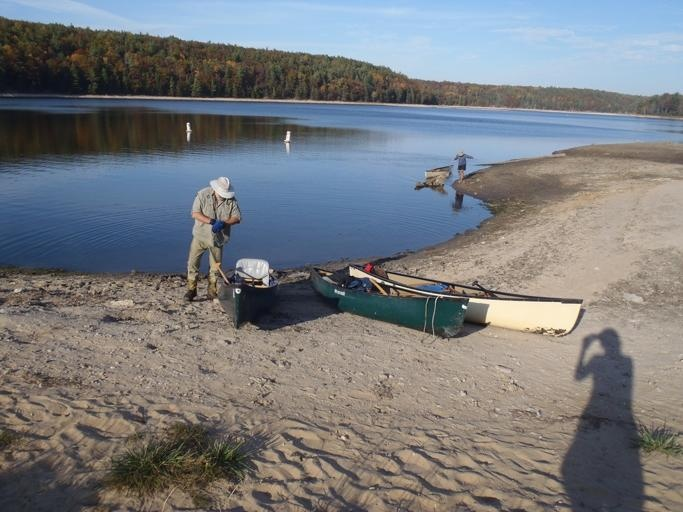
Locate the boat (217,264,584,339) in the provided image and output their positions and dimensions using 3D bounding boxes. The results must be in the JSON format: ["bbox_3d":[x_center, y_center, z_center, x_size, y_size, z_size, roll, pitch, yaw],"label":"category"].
[{"bbox_3d":[1.318,0.900,13.934,7.981,1.289,3.321,1,13,-5],"label":"boat"}]

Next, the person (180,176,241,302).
[{"bbox_3d":[-3.002,-0.344,13.081,1.150,3.039,1.302,-2,16,-19],"label":"person"}]

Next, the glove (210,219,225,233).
[{"bbox_3d":[-2.716,-0.667,12.503,0.292,0.317,0.270,0,15,-12],"label":"glove"}]

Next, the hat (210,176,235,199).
[{"bbox_3d":[-2.646,-1.538,12.594,0.469,0.468,0.375,0,15,-12],"label":"hat"}]
